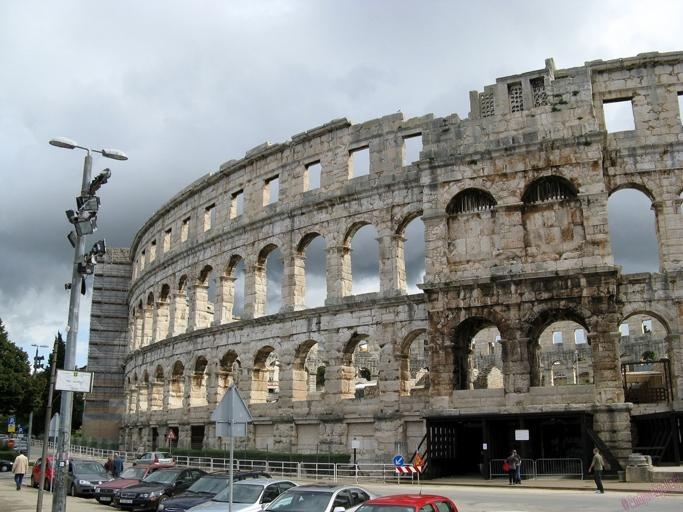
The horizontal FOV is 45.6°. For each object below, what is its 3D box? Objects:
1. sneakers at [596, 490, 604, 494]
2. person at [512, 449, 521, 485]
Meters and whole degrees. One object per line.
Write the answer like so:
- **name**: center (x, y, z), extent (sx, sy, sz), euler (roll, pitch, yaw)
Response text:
- **sneakers**: center (10.818, 9.901, 34.004), extent (0.333, 0.138, 0.115), euler (-4, -10, 37)
- **person**: center (8.009, 9.685, 37.114), extent (0.323, 1.532, 0.644), euler (-4, -19, 10)
